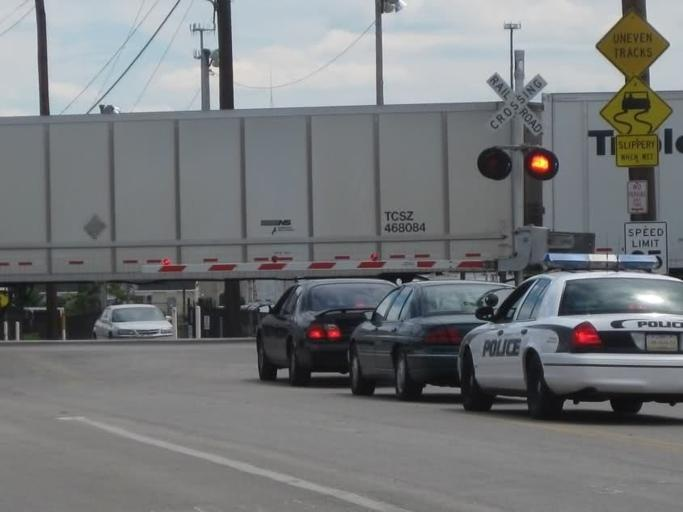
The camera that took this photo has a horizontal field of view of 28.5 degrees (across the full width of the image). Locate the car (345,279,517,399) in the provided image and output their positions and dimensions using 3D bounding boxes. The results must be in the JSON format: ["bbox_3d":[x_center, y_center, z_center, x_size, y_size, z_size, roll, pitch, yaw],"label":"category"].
[{"bbox_3d":[1.006,1.089,19.195,1.162,0.963,2.809,0,0,-14],"label":"car"}]

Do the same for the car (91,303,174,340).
[{"bbox_3d":[-5.555,1.642,35.001,2.162,0.888,1.424,-1,-2,-31],"label":"car"}]

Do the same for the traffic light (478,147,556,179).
[{"bbox_3d":[3.112,-1.646,23.427,0.891,0.682,1.498,-1,-2,-26],"label":"traffic light"}]
